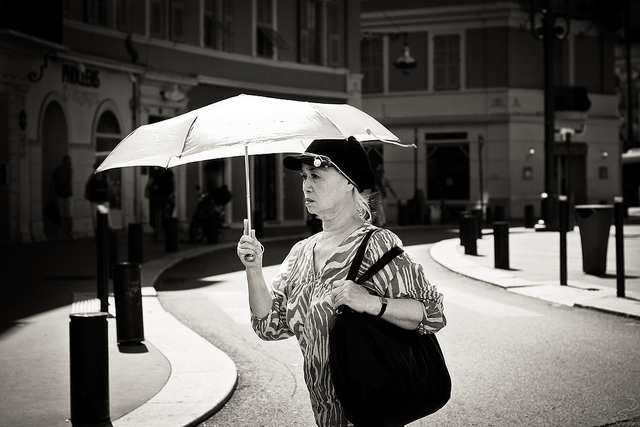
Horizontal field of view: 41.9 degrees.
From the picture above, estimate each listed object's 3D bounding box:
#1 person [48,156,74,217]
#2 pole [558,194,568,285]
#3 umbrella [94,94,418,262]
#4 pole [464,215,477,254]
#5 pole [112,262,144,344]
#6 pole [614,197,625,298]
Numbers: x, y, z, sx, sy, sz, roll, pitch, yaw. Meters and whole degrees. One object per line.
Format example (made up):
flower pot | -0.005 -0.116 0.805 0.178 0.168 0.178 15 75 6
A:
person | -7.549 -0.766 24.445 0.577 1.803 0.719 -3 0 -9
pole | 4.784 0.556 16.402 0.208 1.623 0.735 -3 0 17
umbrella | -0.741 -0.375 8.602 2.718 1.683 0.867 -4 0 10
pole | 3.822 0.543 21.239 0.309 0.945 0.669 -3 0 10
pole | -2.848 1.319 12.388 0.395 1.216 0.297 -3 0 -13
pole | 5.352 0.600 14.908 0.164 1.659 0.620 -3 0 20
